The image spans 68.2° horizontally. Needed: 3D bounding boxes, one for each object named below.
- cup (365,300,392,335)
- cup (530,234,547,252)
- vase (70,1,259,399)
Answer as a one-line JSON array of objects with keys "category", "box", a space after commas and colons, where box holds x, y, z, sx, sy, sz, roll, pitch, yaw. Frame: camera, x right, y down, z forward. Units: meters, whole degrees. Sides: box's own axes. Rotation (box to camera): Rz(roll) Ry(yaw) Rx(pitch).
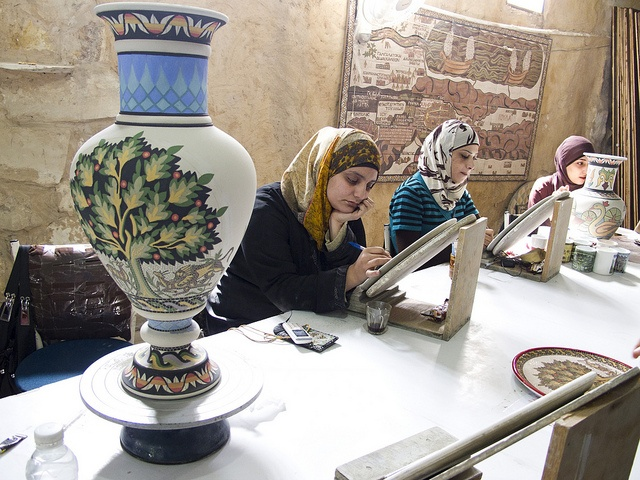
[{"category": "cup", "box": [0.211, 0.304, 1.875, 0.106, 0.120, 0.109, 1, 5, 0]}, {"category": "cup", "box": [1.297, 0.018, 2.835, 0.091, 0.099, 0.088, -4, 20, 2]}, {"category": "vase", "box": [-0.392, -0.173, 1.195, 0.454, 0.775, 0.232, -4, 17, -20]}]
